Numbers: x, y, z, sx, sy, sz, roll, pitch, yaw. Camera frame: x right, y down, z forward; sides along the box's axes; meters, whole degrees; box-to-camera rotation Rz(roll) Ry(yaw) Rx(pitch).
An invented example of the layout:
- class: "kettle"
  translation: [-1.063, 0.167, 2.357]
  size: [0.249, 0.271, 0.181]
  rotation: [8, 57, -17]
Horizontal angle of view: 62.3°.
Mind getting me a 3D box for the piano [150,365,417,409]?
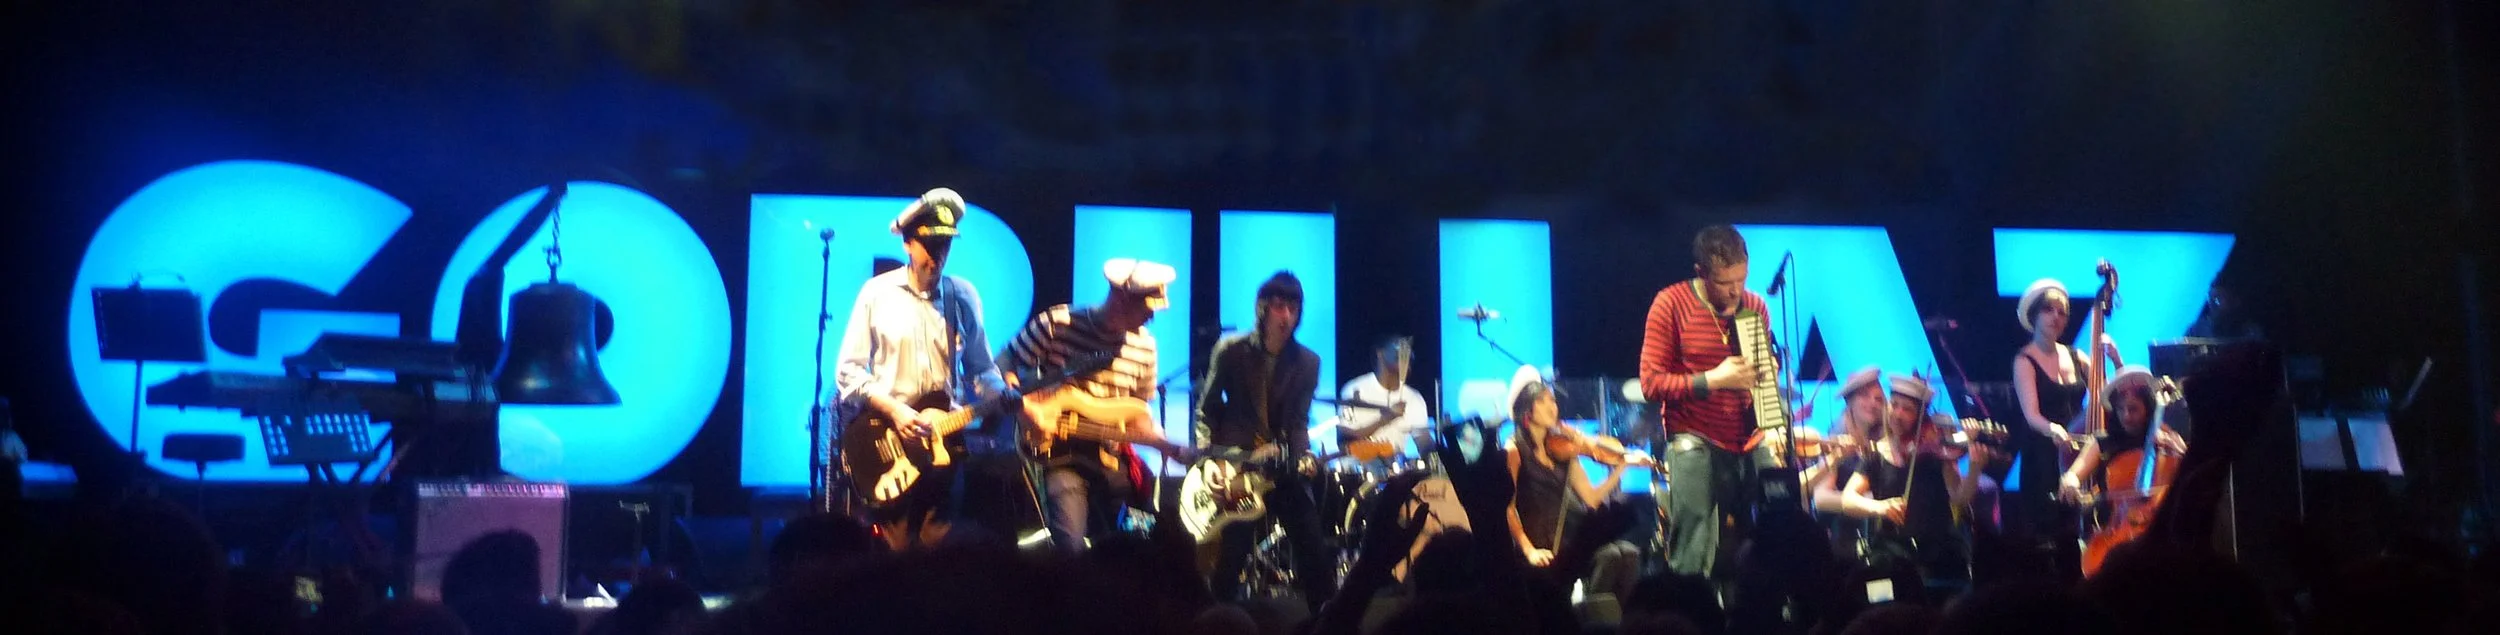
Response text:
- class: "piano"
  translation: [-17.355, 1.262, 36.539]
  size: [4.890, 0.663, 0.997]
  rotation: [-2, -7, 16]
